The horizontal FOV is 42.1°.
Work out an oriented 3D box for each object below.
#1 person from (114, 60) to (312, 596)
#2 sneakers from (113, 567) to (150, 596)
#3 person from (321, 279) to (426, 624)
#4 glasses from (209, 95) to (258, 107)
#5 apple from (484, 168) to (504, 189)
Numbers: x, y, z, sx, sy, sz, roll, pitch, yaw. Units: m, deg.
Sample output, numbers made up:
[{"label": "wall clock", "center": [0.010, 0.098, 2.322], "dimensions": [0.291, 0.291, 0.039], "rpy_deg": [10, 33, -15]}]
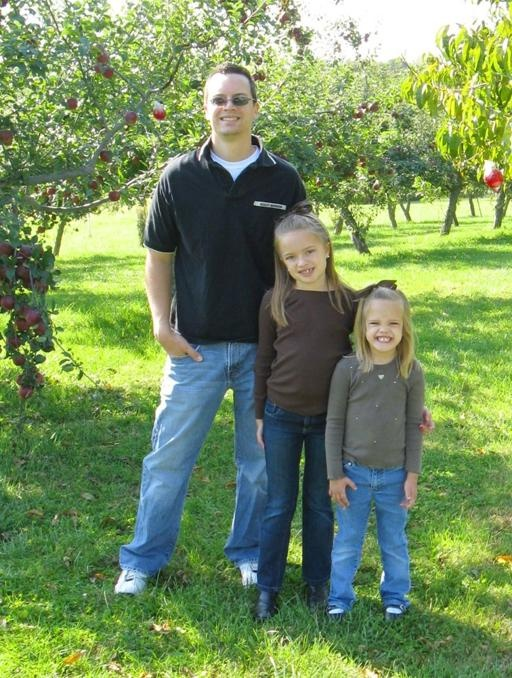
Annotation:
[{"label": "person", "center": [-0.145, 0.012, 2.651], "dimensions": [0.954, 2.076, 0.768], "rpy_deg": [2, 7, 9]}, {"label": "sneakers", "center": [-0.501, 0.977, 2.674], "dimensions": [0.123, 0.085, 0.143], "rpy_deg": [3, 12, -4]}, {"label": "person", "center": [0.458, 0.429, 2.531], "dimensions": [0.394, 1.266, 0.369], "rpy_deg": [7, 14, 11]}, {"label": "glasses", "center": [-0.094, -0.896, 2.503], "dimensions": [0.151, 0.049, 0.062], "rpy_deg": [2, 12, -5]}, {"label": "apple", "center": [1.248, -0.828, 3.494], "dimensions": [0.097, 0.102, 0.065], "rpy_deg": [-27, -43, 28]}]
